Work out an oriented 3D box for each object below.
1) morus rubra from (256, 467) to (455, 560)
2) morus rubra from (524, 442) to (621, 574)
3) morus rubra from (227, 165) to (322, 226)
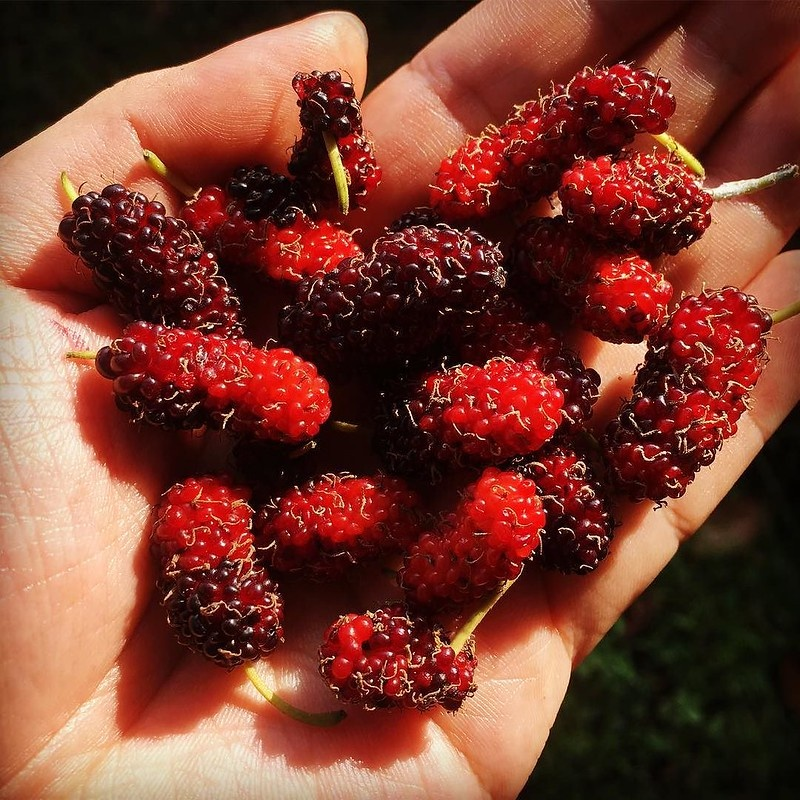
[{"bbox_3d":[-0.099,0.212,1.569,0.289,0.123,0.145,-4,77,-7],"label":"morus rubra"},{"bbox_3d":[0.323,0.212,1.681,0.172,0.138,0.231,-15,79,-3],"label":"morus rubra"},{"bbox_3d":[-0.254,-0.391,1.729,0.165,0.051,0.110,29,79,-9],"label":"morus rubra"}]
